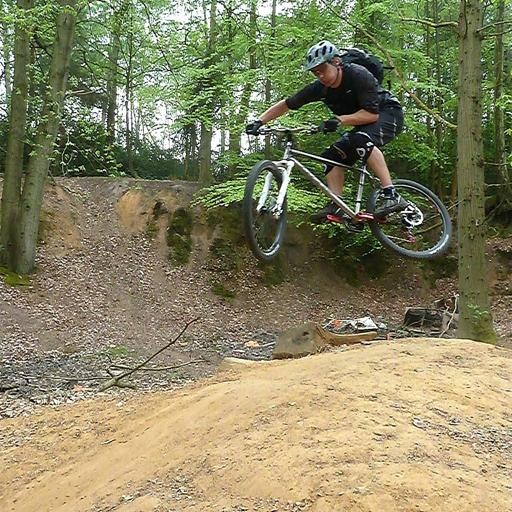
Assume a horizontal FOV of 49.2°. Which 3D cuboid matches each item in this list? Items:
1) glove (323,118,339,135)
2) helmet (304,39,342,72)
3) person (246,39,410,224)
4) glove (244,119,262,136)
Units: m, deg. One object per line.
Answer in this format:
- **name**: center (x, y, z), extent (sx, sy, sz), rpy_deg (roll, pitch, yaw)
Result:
- **glove**: center (0.857, -1.483, 6.305), extent (0.192, 0.186, 0.218), rpy_deg (4, 4, 7)
- **helmet**: center (0.757, -2.261, 6.288), extent (0.413, 0.182, 0.280), rpy_deg (-24, 10, -37)
- **person**: center (1.063, -1.402, 6.701), extent (1.704, 2.131, 0.788), rpy_deg (2, 4, -14)
- **glove**: center (-0.017, -1.525, 6.625), extent (0.201, 0.197, 0.230), rpy_deg (3, 4, -3)
